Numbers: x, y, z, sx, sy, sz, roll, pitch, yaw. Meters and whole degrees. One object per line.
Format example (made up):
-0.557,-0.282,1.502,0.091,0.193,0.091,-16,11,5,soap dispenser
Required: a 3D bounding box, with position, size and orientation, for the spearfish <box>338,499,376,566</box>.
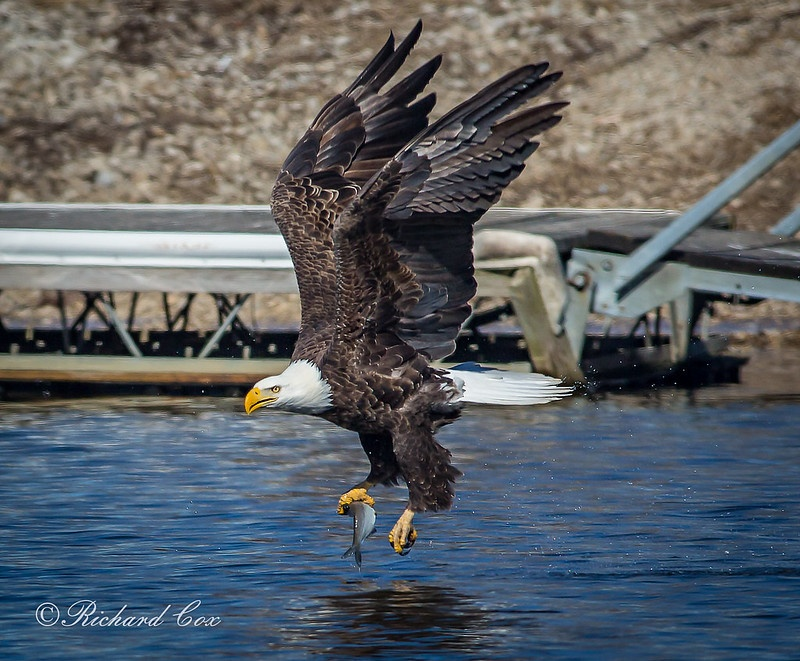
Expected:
-0.354,1.475,13.074,0.225,0.253,0.477,-5,61,36,spearfish
